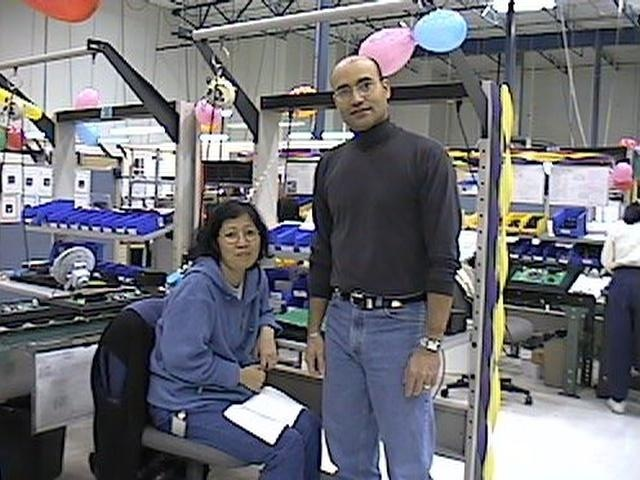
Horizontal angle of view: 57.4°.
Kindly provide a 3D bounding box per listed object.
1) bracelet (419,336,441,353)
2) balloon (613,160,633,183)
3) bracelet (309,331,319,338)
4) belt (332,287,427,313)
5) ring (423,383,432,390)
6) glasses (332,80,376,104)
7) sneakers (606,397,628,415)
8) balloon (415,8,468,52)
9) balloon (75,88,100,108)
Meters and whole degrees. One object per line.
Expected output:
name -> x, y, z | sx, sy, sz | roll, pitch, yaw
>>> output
bracelet -> 0.472, 0.443, 2.499 | 0.051, 0.046, 0.076 | 6, 0, 7
balloon -> 3.512, -0.802, 6.791 | 0.206, 0.245, 0.291 | 13, 10, 32
bracelet -> -0.032, 0.449, 2.795 | 0.024, 0.020, 0.035 | -5, 4, -18
belt -> 0.299, 0.269, 2.605 | 0.331, 0.088, 0.061 | 4, 1, 11
ring -> 0.466, 0.628, 2.533 | 0.029, 0.025, 0.031 | 0, 3, 0
glasses -> 0.155, -0.671, 2.591 | 0.115, 0.051, 0.131 | -14, 10, 28
sneakers -> 2.571, 1.426, 5.044 | 0.075, 0.089, 0.192 | -1, -6, 3
balloon -> 0.619, -1.091, 3.051 | 0.293, 0.234, 0.176 | 3, 1, 21
balloon -> -2.691, -1.670, 6.765 | 0.238, 0.187, 0.527 | 3, 1, -21
